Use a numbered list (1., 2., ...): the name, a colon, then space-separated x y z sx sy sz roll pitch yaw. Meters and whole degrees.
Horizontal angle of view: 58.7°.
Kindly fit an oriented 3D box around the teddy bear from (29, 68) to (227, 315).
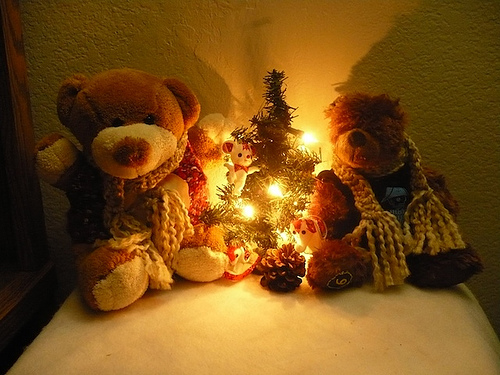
1. teddy bear: -0.299 -0.013 1.159 0.583 0.534 0.349 -5 27 -23

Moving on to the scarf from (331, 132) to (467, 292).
1. scarf: 0.398 0.037 1.227 0.300 0.446 0.147 -28 -39 34

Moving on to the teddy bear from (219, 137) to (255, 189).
1. teddy bear: -0.032 -0.049 1.173 0.093 0.108 0.061 -23 -39 25

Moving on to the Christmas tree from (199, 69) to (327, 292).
1. Christmas tree: 0.041 -0.017 1.274 0.324 0.600 0.361 3 -10 19
